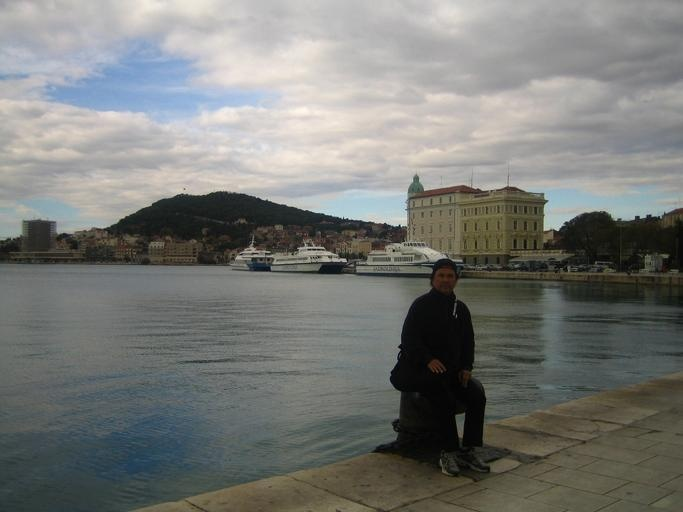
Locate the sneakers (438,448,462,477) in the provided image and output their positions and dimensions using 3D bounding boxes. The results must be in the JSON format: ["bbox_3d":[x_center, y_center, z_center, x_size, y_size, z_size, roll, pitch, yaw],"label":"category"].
[{"bbox_3d":[1.430,2.748,8.206,0.288,0.235,0.356,-7,-4,5],"label":"sneakers"}]

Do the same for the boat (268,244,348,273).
[{"bbox_3d":[-6.719,0.396,122.989,6.613,5.280,16.223,1,-4,-36],"label":"boat"}]
